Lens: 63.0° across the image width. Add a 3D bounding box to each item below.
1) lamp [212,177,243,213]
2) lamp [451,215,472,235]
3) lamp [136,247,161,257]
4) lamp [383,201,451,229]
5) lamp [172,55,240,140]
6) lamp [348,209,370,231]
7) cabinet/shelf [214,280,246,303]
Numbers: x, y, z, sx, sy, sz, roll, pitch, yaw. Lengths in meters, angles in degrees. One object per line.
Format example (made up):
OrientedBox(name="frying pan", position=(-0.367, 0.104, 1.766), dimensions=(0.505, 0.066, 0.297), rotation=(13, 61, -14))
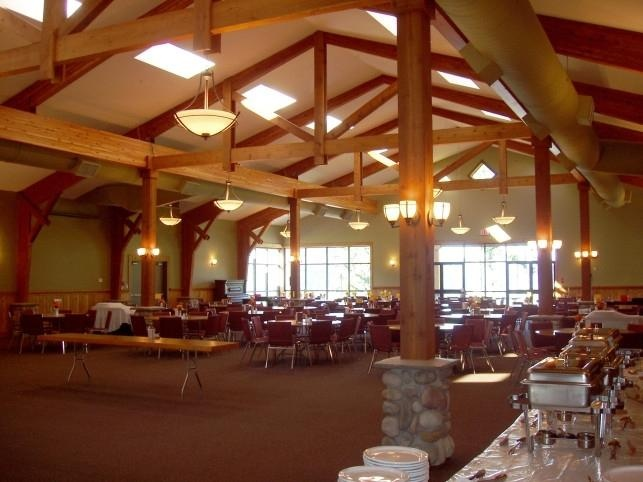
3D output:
OrientedBox(name="lamp", position=(-2.616, -1.320, 14.540), dimensions=(0.961, 1.245, 0.907), rotation=(0, -8, 1))
OrientedBox(name="lamp", position=(5.395, -0.593, 20.420), dimensions=(0.840, 0.770, 0.830), rotation=(-1, -8, 8))
OrientedBox(name="lamp", position=(-4.336, 0.281, 12.842), dimensions=(0.711, 0.315, 0.427), rotation=(1, -1, -11))
OrientedBox(name="lamp", position=(1.149, -0.367, 6.188), dimensions=(0.702, 0.241, 0.489), rotation=(-1, -8, 13))
OrientedBox(name="lamp", position=(-1.812, -2.183, 8.255), dimensions=(1.000, 1.067, 0.911), rotation=(2, 5, 7))
OrientedBox(name="lamp", position=(1.359, -0.824, 19.110), dimensions=(0.883, 0.750, 0.869), rotation=(1, -6, 1))
OrientedBox(name="cabinet/shelf", position=(-3.468, 1.957, 20.614), dimensions=(1.263, 0.868, 1.254), rotation=(10, 4, 28))
